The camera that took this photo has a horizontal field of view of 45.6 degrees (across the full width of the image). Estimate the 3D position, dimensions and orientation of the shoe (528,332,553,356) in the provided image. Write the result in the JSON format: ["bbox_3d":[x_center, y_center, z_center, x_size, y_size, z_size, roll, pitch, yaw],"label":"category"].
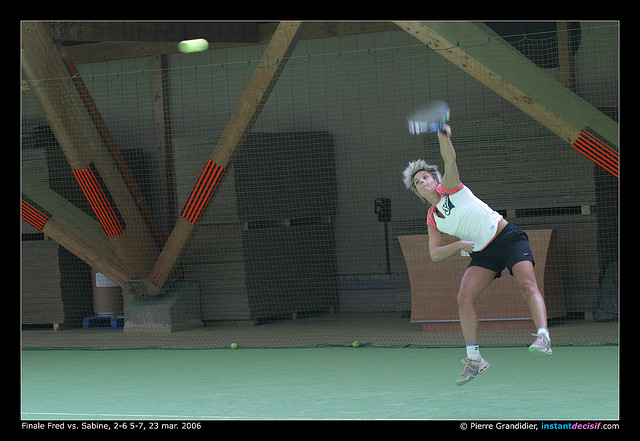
[{"bbox_3d":[1.913,1.058,6.608,0.141,0.206,0.173,-1,5,28],"label":"shoe"}]

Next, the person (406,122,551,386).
[{"bbox_3d":[1.411,0.302,6.876,1.110,2.300,0.779,-3,4,2],"label":"person"}]

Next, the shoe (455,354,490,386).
[{"bbox_3d":[1.418,1.393,7.050,0.387,0.175,0.138,-33,18,1],"label":"shoe"}]

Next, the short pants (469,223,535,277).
[{"bbox_3d":[1.618,0.273,6.855,0.587,0.374,0.315,-29,-22,22],"label":"short pants"}]

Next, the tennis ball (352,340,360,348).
[{"bbox_3d":[0.423,1.440,8.851,0.068,0.050,0.061,-3,4,-19],"label":"tennis ball"}]
